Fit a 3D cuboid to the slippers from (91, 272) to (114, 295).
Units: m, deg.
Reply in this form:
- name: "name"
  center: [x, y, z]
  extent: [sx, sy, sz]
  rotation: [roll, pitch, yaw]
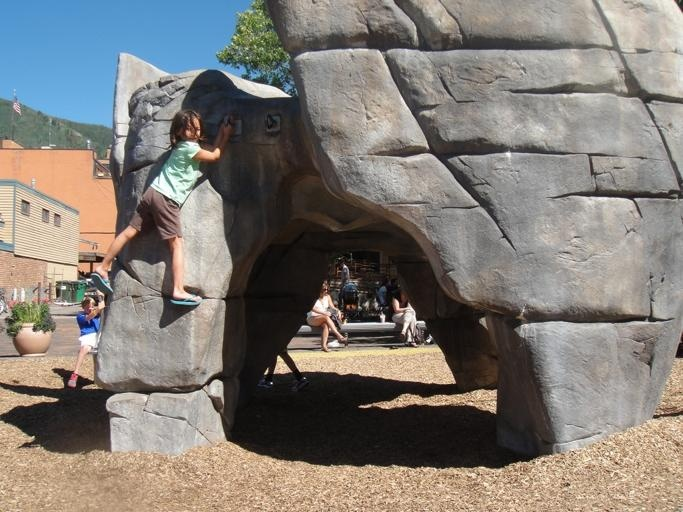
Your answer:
- name: "slippers"
  center: [-2.210, 0.235, 7.108]
  extent: [0.123, 0.111, 0.264]
  rotation: [-4, -43, 35]

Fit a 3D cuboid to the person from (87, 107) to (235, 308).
- name: "person"
  center: [-1.632, -0.450, 7.151]
  extent: [1.186, 1.813, 0.475]
  rotation: [-5, -11, 11]

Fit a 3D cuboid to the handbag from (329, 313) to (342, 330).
- name: "handbag"
  center: [-0.084, 1.307, 15.579]
  extent: [0.095, 0.295, 0.237]
  rotation: [-23, 19, -40]

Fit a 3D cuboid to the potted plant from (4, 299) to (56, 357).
- name: "potted plant"
  center: [-4.889, 1.119, 12.157]
  extent: [0.920, 0.921, 0.841]
  rotation: [1, 2, -6]

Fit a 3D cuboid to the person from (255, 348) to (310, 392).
- name: "person"
  center: [-0.797, 1.551, 10.578]
  extent: [0.713, 0.588, 1.420]
  rotation: [0, -10, -13]
